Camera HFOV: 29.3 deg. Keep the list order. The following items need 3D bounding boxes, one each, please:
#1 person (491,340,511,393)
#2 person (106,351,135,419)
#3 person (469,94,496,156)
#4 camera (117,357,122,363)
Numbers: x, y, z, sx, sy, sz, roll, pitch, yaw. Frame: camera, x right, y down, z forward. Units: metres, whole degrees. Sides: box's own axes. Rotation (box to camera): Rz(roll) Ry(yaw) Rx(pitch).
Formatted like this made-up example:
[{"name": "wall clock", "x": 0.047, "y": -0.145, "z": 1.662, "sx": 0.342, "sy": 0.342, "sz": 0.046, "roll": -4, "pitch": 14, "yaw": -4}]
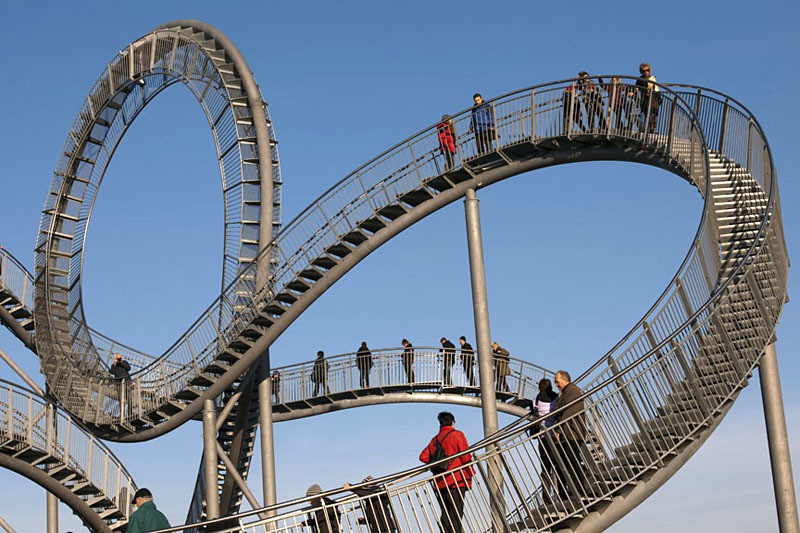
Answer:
[{"name": "person", "x": 2.753, "y": 2.661, "z": 41.769, "sx": 0.504, "sy": 1.421, "sz": 0.936, "roll": -13, "pitch": -31, "yaw": 2}, {"name": "person", "x": -7.105, "y": 2.937, "z": 39.210, "sx": 0.468, "sy": 2.331, "sz": 1.493, "roll": -5, "pitch": -31, "yaw": -11}, {"name": "person", "x": 1.927, "y": -3.240, "z": 35.025, "sx": 0.654, "sy": 1.122, "sz": 0.435, "roll": -22, "pitch": -32, "yaw": 16}, {"name": "camera", "x": -7.301, "y": 2.417, "z": 40.001, "sx": 0.116, "sy": 0.126, "sz": 0.038, "roll": 1, "pitch": -4, "yaw": -14}]
